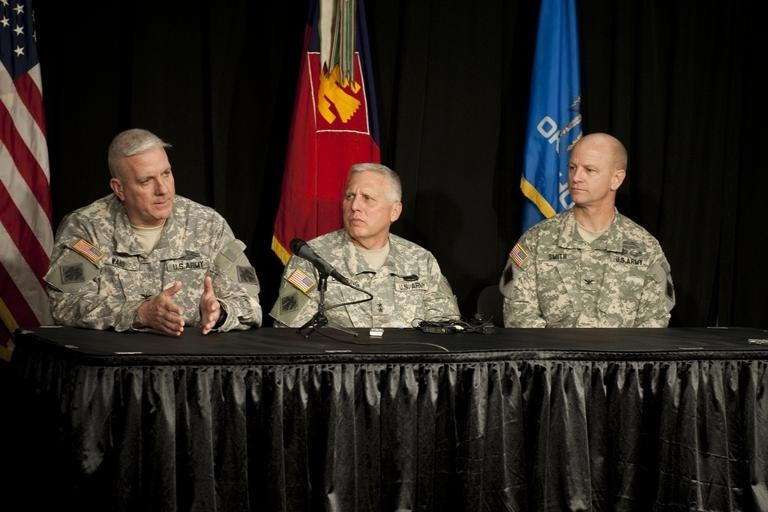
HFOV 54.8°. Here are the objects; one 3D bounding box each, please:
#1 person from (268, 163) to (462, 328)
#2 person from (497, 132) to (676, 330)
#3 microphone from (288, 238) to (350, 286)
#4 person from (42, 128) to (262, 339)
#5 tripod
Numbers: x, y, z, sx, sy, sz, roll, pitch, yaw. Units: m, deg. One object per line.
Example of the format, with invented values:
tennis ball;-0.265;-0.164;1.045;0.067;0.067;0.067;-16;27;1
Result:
person;-0.079;0.023;4.512;1.228;1.038;0.710;3;6;-16
person;1.261;-0.172;4.593;1.056;1.163;0.468;-1;8;6
microphone;-0.359;0.039;4.149;0.378;0.089;0.081;37;25;22
person;-1.254;-0.150;4.293;1.091;1.141;1.228;-3;3;-34
tripod;-0.327;0.250;3.729;0.329;0.425;0.276;-1;2;7
